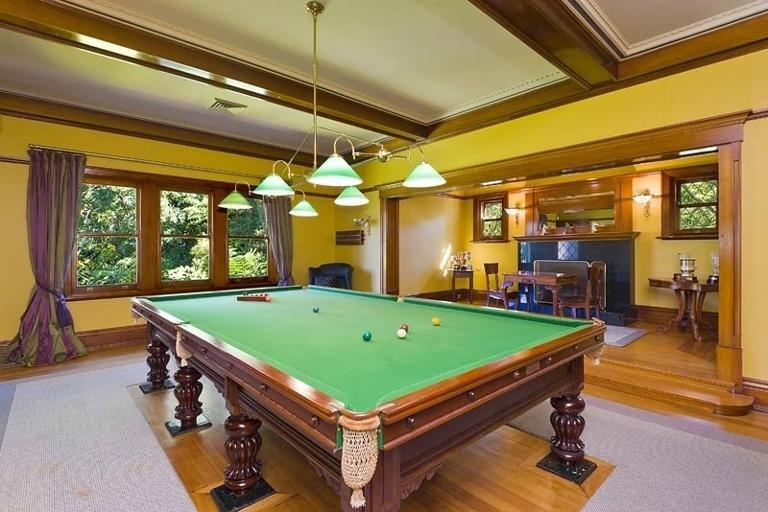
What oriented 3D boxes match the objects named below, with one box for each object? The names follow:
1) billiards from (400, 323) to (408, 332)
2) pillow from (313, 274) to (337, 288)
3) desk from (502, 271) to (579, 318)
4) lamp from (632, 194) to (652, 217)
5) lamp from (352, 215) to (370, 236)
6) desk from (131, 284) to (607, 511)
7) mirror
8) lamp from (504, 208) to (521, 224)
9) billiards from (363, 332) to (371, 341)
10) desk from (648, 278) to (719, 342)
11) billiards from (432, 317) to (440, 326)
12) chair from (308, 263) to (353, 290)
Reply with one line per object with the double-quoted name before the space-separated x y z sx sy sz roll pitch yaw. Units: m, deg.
"billiards" 0.189 0.663 4.585 0.063 0.063 0.060 -5 9 2
"pillow" -1.064 0.458 9.014 0.317 0.284 0.093 -2 -21 2
"desk" 2.611 0.400 8.129 0.803 0.772 1.076 -4 6 -42
"lamp" 4.356 -0.846 8.344 0.280 0.376 0.334 1 3 33
"lamp" -0.369 -0.545 9.046 0.363 0.440 0.317 2 4 40
"desk" -0.272 1.285 4.726 4.217 1.605 2.212 0 2 27
"mirror" 3.617 -0.953 9.148 1.148 0.658 0.165 -1 -2 44
"lamp" 2.661 -0.808 10.216 0.317 0.360 0.321 -1 1 -28
"billiards" -0.146 0.716 4.413 0.066 0.065 0.066 1 16 -38
"desk" 4.597 0.776 7.462 0.741 0.741 1.139 2 3 -35
"billiards" 0.513 0.629 4.800 0.067 0.073 0.062 -11 16 -24
"chair" -0.940 0.354 8.977 0.597 0.579 0.526 1 -4 7
